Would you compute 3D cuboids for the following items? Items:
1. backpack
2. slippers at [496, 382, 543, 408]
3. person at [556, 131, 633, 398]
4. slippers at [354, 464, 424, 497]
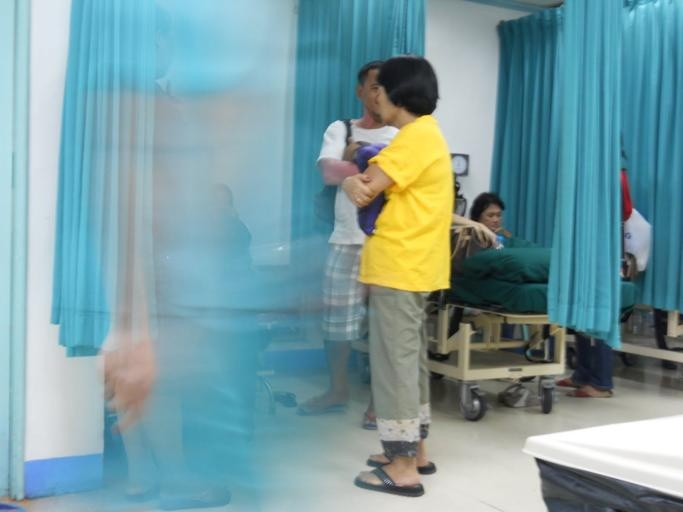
[{"bbox_3d":[0.083,-0.214,2.153,0.071,0.237,0.190,0,-1,-26],"label":"backpack"},{"bbox_3d":[0.917,0.729,3.441,0.117,0.054,0.162,-2,3,-9],"label":"slippers"},{"bbox_3d":[1.427,0.050,3.687,0.316,1.449,0.936,5,5,23],"label":"person"},{"bbox_3d":[0.165,0.766,2.209,0.227,0.068,0.105,8,-3,-9],"label":"slippers"}]
